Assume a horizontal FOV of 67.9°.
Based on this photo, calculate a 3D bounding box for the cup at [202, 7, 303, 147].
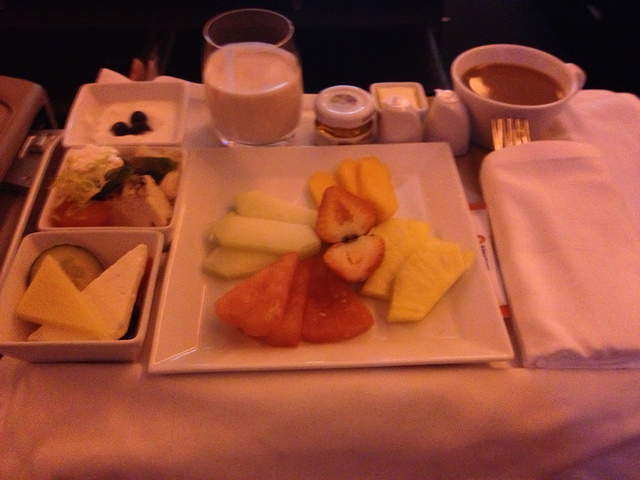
[{"bbox_3d":[-0.157,-0.362,1.112,0.213,0.220,0.238,-6,60,-8],"label":"cup"}]

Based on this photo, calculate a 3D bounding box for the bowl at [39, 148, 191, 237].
[{"bbox_3d":[-0.416,-0.110,0.991,0.257,0.041,0.225,2,59,-3],"label":"bowl"}]

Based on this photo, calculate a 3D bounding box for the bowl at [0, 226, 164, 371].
[{"bbox_3d":[-0.426,0.101,0.858,0.259,0.090,0.259,2,59,-3],"label":"bowl"}]

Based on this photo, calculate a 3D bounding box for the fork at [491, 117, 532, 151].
[{"bbox_3d":[0.433,-0.243,1.071,0.083,0.019,0.076,1,69,1],"label":"fork"}]

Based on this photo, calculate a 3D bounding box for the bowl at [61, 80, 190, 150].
[{"bbox_3d":[-0.452,-0.303,1.159,0.215,0.052,0.220,1,52,-1],"label":"bowl"}]
